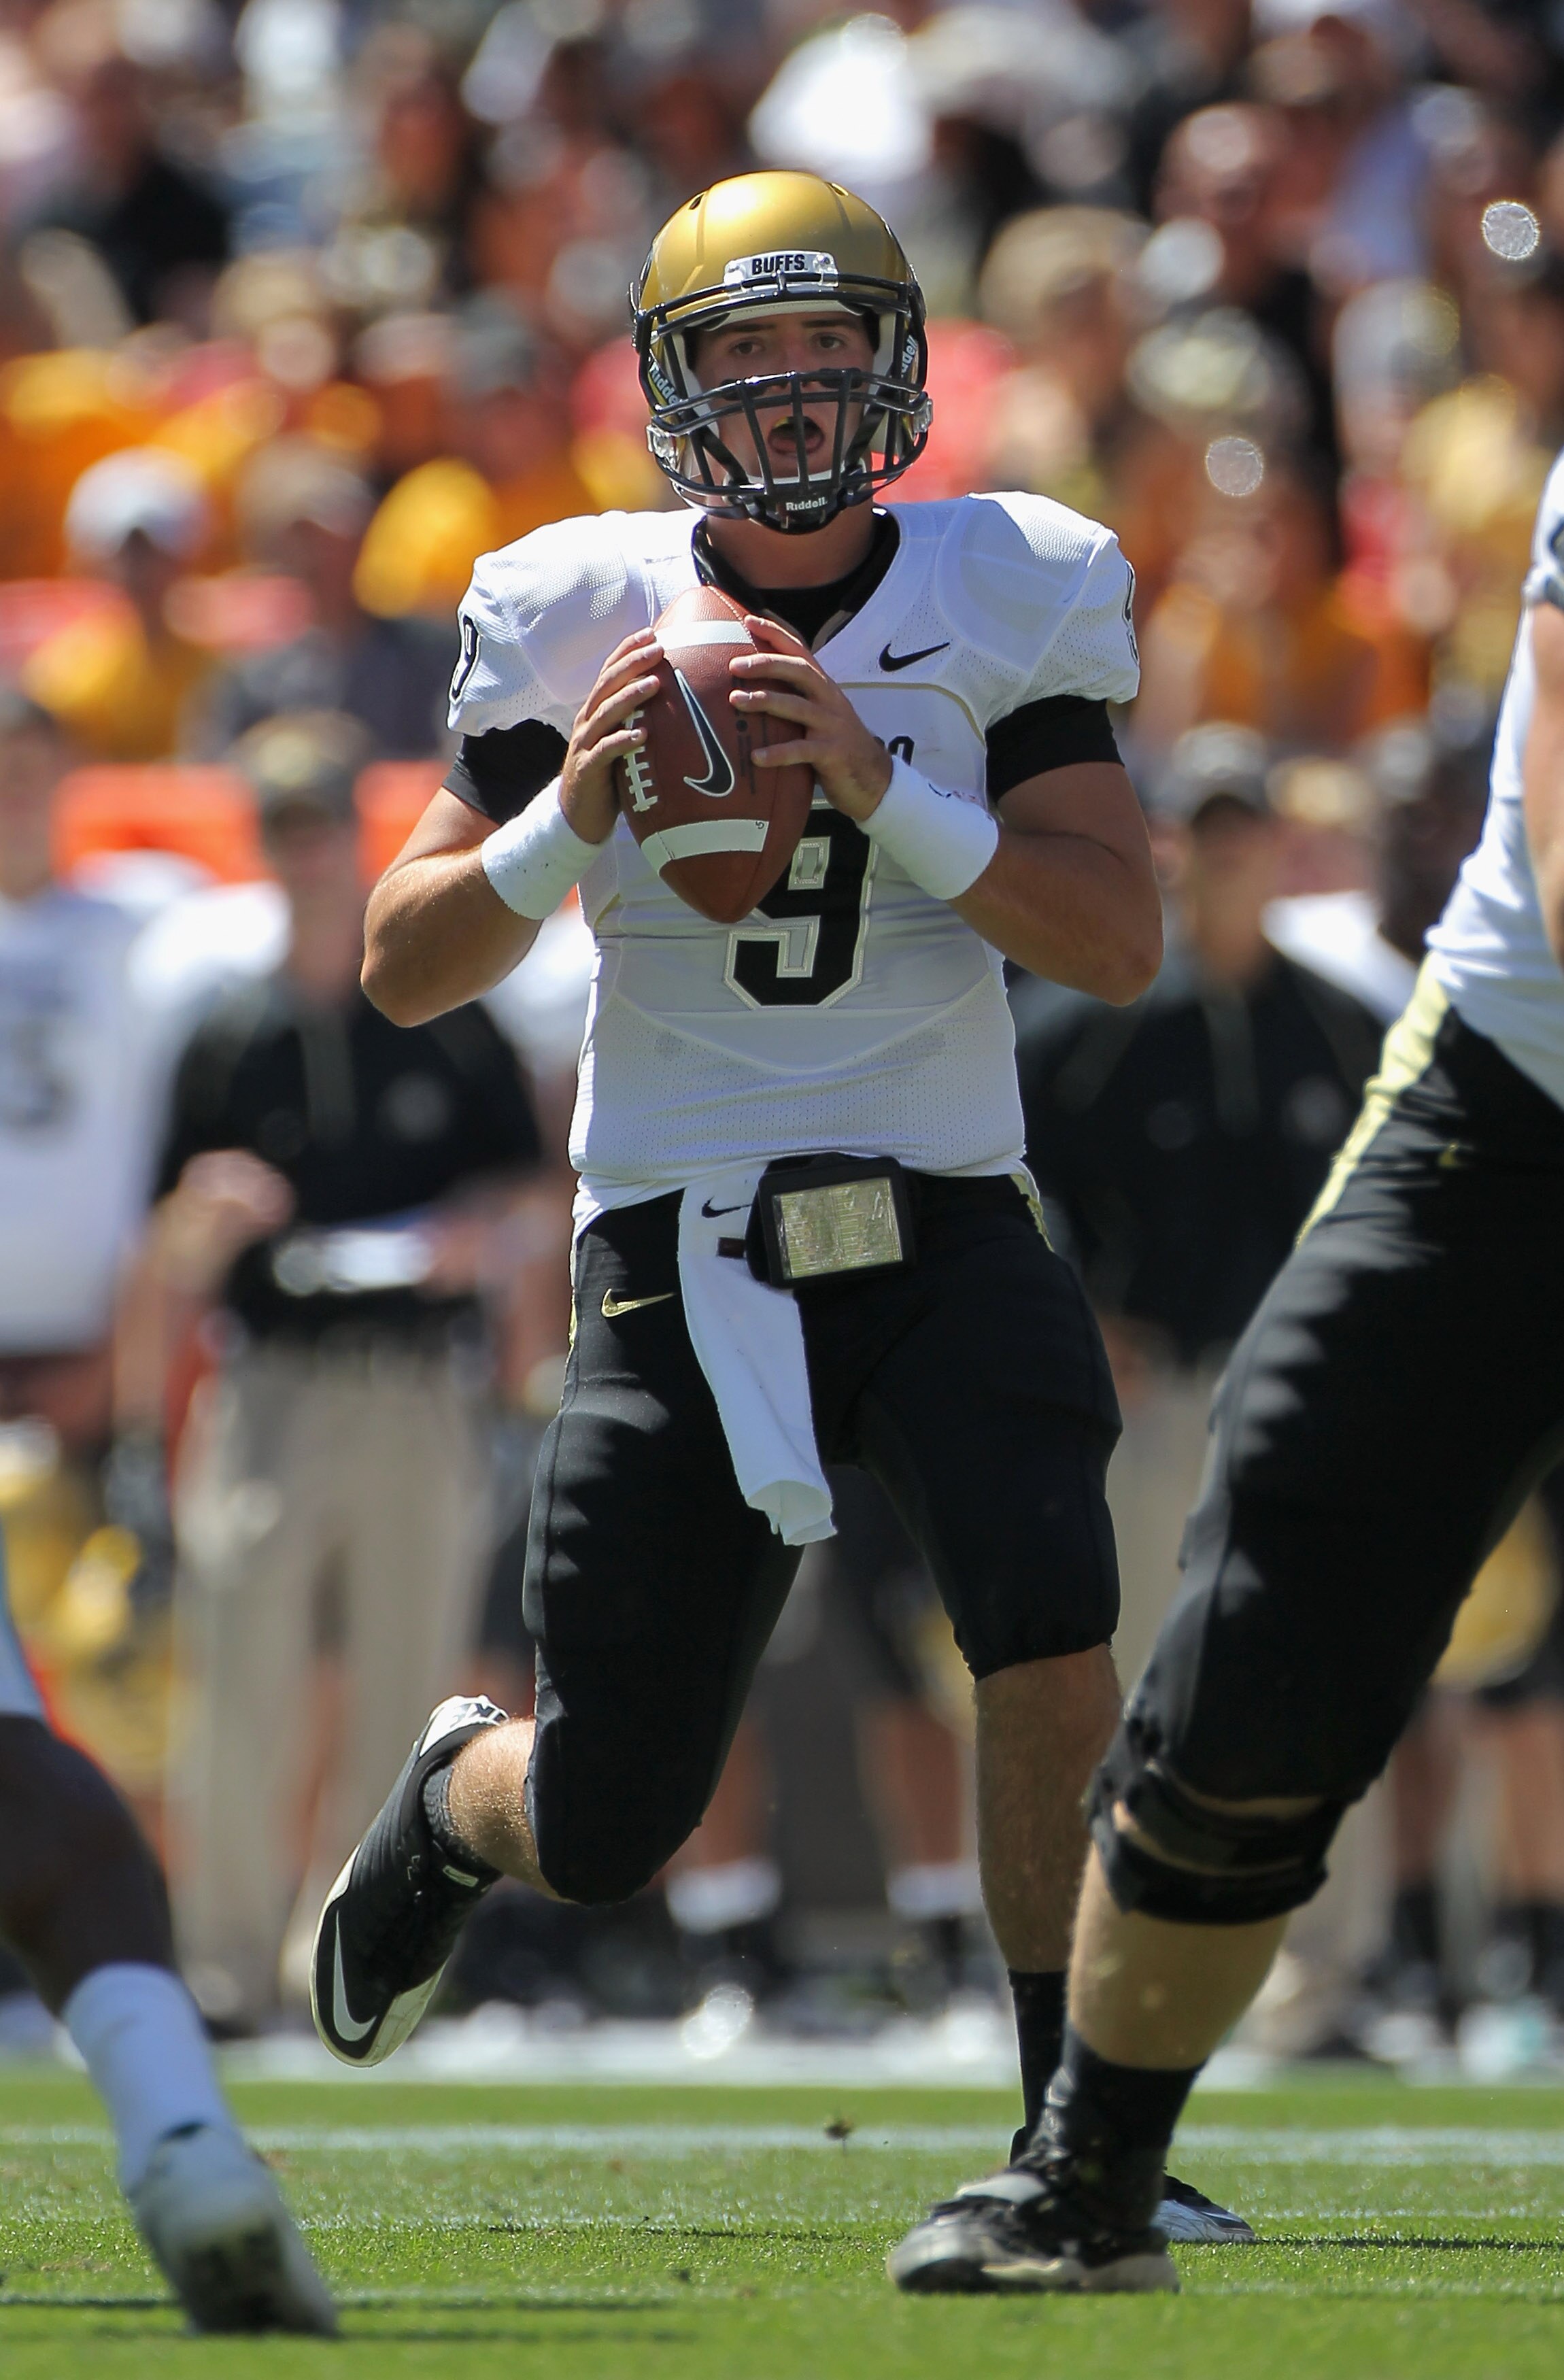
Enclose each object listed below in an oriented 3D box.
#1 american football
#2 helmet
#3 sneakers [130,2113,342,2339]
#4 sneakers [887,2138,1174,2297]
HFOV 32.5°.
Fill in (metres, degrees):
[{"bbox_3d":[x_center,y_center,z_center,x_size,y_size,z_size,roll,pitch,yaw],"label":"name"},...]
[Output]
[{"bbox_3d":[-0.041,-0.334,2.154,0.166,0.158,0.233,-9,84,4],"label":"american football"},{"bbox_3d":[0.003,-0.752,2.409,0.271,0.287,0.309,-8,16,-7],"label":"helmet"},{"bbox_3d":[-0.247,0.495,1.259,0.069,0.047,0.145,18,13,-30],"label":"sneakers"},{"bbox_3d":[0.175,0.695,1.813,0.222,0.078,0.083,3,79,2],"label":"sneakers"}]
